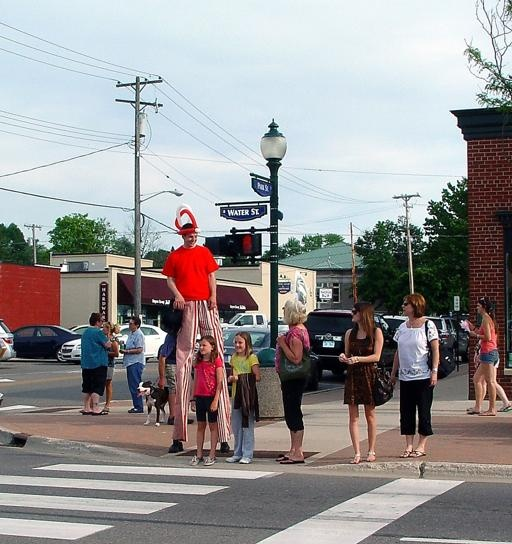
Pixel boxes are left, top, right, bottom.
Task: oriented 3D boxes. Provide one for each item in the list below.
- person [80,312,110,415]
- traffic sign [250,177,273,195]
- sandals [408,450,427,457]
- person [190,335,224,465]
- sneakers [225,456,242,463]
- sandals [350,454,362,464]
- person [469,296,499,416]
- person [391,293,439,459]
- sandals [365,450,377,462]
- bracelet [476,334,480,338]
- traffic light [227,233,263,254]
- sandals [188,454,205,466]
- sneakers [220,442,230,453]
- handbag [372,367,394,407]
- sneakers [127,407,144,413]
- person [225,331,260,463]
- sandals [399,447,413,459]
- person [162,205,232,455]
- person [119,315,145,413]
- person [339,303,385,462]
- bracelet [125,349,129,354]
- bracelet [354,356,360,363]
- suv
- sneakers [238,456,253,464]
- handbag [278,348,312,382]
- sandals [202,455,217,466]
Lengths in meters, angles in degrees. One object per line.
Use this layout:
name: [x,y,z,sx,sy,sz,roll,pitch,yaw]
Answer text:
person: [-2.430,1.388,17.028,0.445,1.544,0.687,-1,-1,-9]
traffic sign: [0.113,-1.230,15.571,0.149,0.251,0.690,-2,-1,15]
sandals: [1.711,1.924,11.792,0.161,0.047,0.067,0,-2,10]
person: [-0.500,1.391,12.075,0.363,1.406,0.328,-1,-1,3]
sneakers: [-0.239,2.057,12.213,0.059,0.073,0.166,9,0,-30]
sandals: [1.075,1.991,11.813,0.068,0.088,0.204,-2,-9,8]
person: [3.280,1.204,16.051,0.402,1.679,0.877,-2,-1,11]
person: [1.743,1.103,12.097,0.526,1.761,0.835,-2,-1,7]
sandals: [1.237,1.968,11.874,0.074,0.093,0.225,-1,-12,8]
bracelet: [3.197,0.901,15.983,0.051,0.060,0.052,0,-3,1]
traffic light: [-0.105,-0.409,15.588,0.520,0.343,0.235,-2,-2,36]
sandals: [-0.633,2.048,12.052,0.065,0.083,0.179,-2,-5,19]
sneakers: [-0.340,2.023,12.842,0.145,0.155,0.095,0,0,-1]
handbag: [1.366,1.201,11.840,0.176,0.410,0.361,-2,-1,16]
sneakers: [-1.836,2.140,17.193,0.172,0.073,0.099,5,-1,26]
person: [-0.138,1.375,12.231,0.373,1.437,0.405,-1,-1,-8]
sandals: [1.619,1.945,11.924,0.087,0.103,0.254,-4,-7,10]
person: [-0.681,0.451,12.836,0.616,2.501,0.619,-3,27,-8]
person: [-1.843,1.423,17.052,0.310,1.489,0.672,-1,-1,-7]
person: [1.151,1.167,11.914,0.438,1.691,0.889,-1,-1,6]
bracelet: [-1.930,1.198,16.933,0.053,0.053,0.013,-2,-6,-30]
bracelet: [1.077,0.914,11.703,0.042,0.069,0.066,1,17,11]
suv: [2.015,1.549,23.398,1.461,1.297,3.124,-2,0,43]
sneakers: [-0.099,2.053,12.095,0.136,0.076,0.145,-1,-1,-4]
handbag: [0.418,0.982,11.909,0.347,0.509,0.177,0,3,6]
sandals: [-0.487,2.051,12.074,0.071,0.083,0.200,-3,-8,16]
